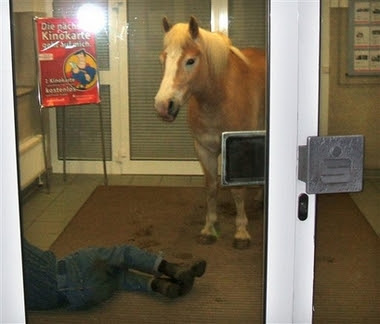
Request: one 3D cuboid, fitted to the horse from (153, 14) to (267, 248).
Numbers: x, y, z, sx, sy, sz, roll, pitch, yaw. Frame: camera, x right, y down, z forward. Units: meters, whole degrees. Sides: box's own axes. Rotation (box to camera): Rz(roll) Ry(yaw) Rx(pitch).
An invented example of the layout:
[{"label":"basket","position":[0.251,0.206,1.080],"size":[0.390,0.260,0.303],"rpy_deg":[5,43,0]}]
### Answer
[{"label":"horse","position":[0.207,-0.133,1.828],"size":[0.284,0.961,1.118],"rpy_deg":[6,17,30]}]
